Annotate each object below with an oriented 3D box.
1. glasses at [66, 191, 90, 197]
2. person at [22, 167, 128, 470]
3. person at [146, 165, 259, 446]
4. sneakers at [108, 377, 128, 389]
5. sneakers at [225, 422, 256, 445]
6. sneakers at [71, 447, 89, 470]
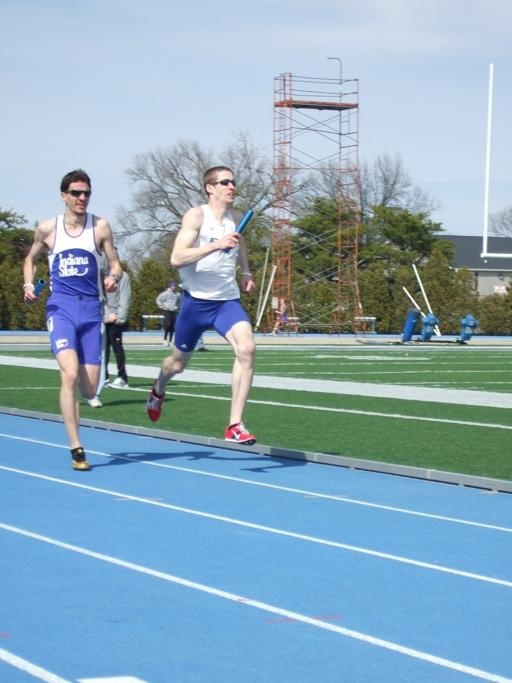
[{"bbox_3d":[-1.244,-1.030,5.463,0.157,0.051,0.102,-1,4,-17],"label":"glasses"},{"bbox_3d":[-1.338,-0.224,5.664,0.693,1.986,0.459,-1,4,-10],"label":"person"},{"bbox_3d":[-0.403,-0.249,6.152,0.796,2.222,1.325,0,4,-4],"label":"person"},{"bbox_3d":[-2.153,0.632,11.917,0.334,0.124,0.142,3,-1,7],"label":"sneakers"},{"bbox_3d":[-0.104,0.690,5.836,0.114,0.133,0.301,6,-6,-38],"label":"sneakers"},{"bbox_3d":[-1.237,0.815,5.468,0.118,0.156,0.133,-1,4,-12],"label":"sneakers"}]
